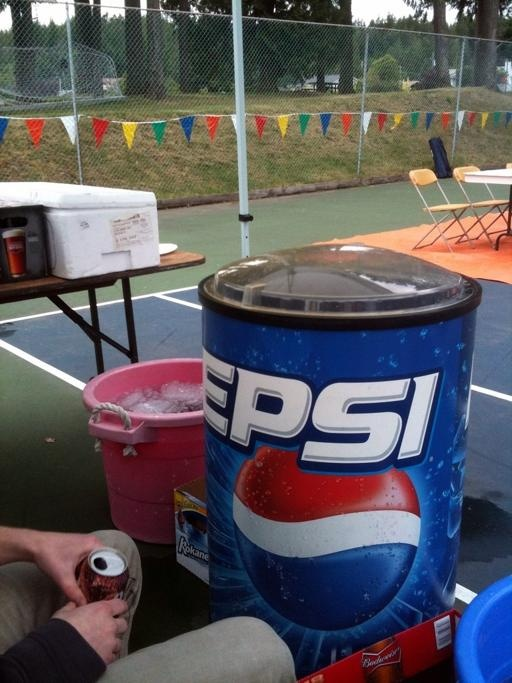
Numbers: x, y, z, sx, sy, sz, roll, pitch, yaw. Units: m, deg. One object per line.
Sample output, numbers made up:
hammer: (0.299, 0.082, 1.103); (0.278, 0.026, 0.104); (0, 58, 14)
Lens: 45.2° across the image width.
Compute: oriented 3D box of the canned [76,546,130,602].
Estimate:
canned: (-0.346, 0.526, 1.404); (0.127, 0.173, 0.110); (5, 29, -14)

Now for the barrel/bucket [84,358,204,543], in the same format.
barrel/bucket: (-0.466, 0.417, 2.650); (0.472, 0.684, 0.815); (-1, 21, -5)
